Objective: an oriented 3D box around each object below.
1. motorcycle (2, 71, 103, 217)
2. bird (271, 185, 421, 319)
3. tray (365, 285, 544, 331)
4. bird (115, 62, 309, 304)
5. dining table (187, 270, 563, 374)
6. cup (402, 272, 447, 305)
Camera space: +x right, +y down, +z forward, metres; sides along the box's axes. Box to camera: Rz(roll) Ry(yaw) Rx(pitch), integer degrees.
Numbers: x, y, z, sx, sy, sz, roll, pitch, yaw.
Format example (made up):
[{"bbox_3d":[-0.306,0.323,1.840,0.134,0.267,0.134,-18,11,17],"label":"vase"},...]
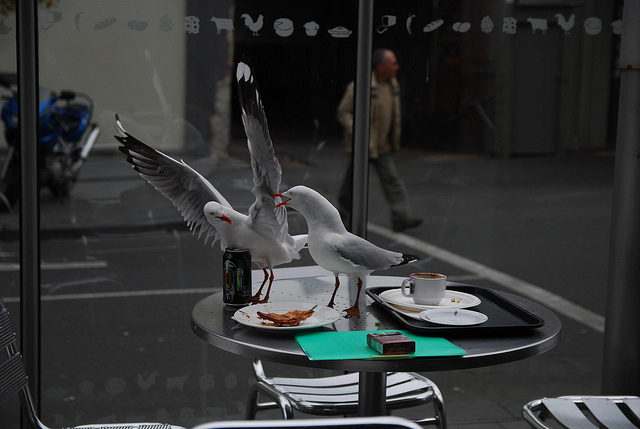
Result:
[{"bbox_3d":[-1.206,-0.321,3.079,0.454,0.623,0.092,-6,14,-20],"label":"motorcycle"},{"bbox_3d":[0.123,0.130,2.616,0.633,0.479,0.220,-1,2,-27],"label":"bird"},{"bbox_3d":[0.469,0.326,2.486,0.522,0.046,0.456,-4,13,-12],"label":"tray"},{"bbox_3d":[-0.301,-0.027,2.648,0.818,0.697,0.706,-15,-24,41],"label":"bird"},{"bbox_3d":[0.193,0.347,2.465,1.289,0.224,0.609,-1,12,-1],"label":"dining table"},{"bbox_3d":[0.370,0.274,2.515,0.181,0.112,0.121,-1,4,-26],"label":"cup"}]
